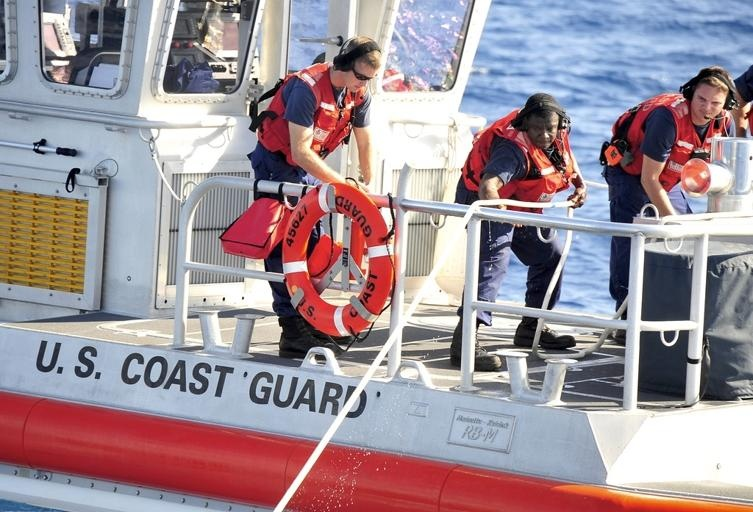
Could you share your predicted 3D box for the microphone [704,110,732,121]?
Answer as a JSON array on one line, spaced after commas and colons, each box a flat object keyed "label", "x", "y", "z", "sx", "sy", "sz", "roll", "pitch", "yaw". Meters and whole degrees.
[{"label": "microphone", "x": 2.357, "y": -0.985, "z": 12.415, "sx": 0.152, "sy": 0.039, "sz": 0.106, "roll": -6, "pitch": 4, "yaw": -26}]

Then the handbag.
[{"label": "handbag", "x": -0.817, "y": -0.189, "z": 12.128, "sx": 0.388, "sy": 0.481, "sz": 0.143, "roll": 27, "pitch": -22, "yaw": 39}]

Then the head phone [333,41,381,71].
[{"label": "head phone", "x": -0.145, "y": -1.365, "z": 12.055, "sx": 0.325, "sy": 0.229, "sz": 0.134, "roll": 9, "pitch": 8, "yaw": 23}]

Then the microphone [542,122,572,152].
[{"label": "microphone", "x": 1.188, "y": -0.823, "z": 12.088, "sx": 0.199, "sy": 0.191, "sz": 0.074, "roll": 4, "pitch": 17, "yaw": -15}]

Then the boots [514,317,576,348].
[{"label": "boots", "x": 1.160, "y": 0.550, "z": 12.703, "sx": 0.537, "sy": 0.205, "sz": 0.176, "roll": 2, "pitch": 7, "yaw": 29}]

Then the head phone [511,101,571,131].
[{"label": "head phone", "x": 1.143, "y": -0.947, "z": 12.085, "sx": 0.455, "sy": 0.207, "sz": 0.228, "roll": 0, "pitch": 10, "yaw": -37}]

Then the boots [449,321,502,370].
[{"label": "boots", "x": 0.666, "y": 0.624, "z": 12.024, "sx": 0.437, "sy": 0.341, "sz": 0.275, "roll": 1, "pitch": -9, "yaw": 0}]

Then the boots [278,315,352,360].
[{"label": "boots", "x": -0.487, "y": 0.551, "z": 12.191, "sx": 0.596, "sy": 0.323, "sz": 0.197, "roll": -4, "pitch": 8, "yaw": 2}]

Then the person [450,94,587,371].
[{"label": "person", "x": 0.907, "y": -0.198, "z": 12.285, "sx": 0.733, "sy": 1.884, "sz": 1.137, "roll": 12, "pitch": 10, "yaw": 31}]
